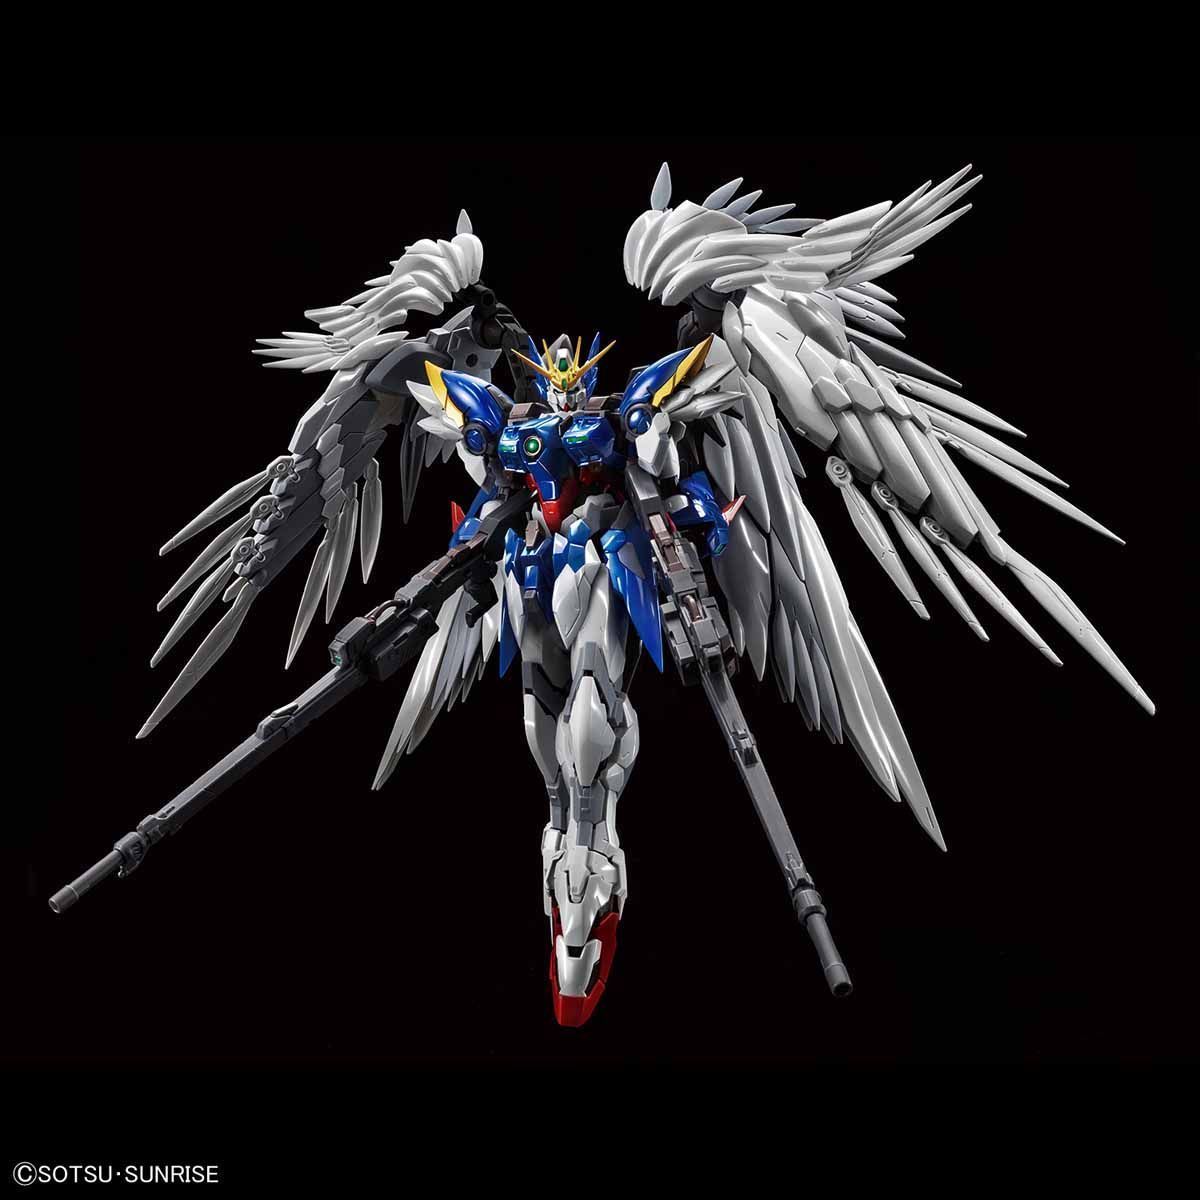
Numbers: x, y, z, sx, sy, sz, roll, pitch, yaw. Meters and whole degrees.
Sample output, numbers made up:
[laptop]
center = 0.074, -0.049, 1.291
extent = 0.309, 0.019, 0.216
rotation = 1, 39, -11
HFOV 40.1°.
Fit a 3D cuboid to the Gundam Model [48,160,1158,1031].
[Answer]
[Gundam Model]
center = 0.074, 0.151, 5.315
extent = 3.166, 1.626, 3.425
rotation = 0, -78, 14
